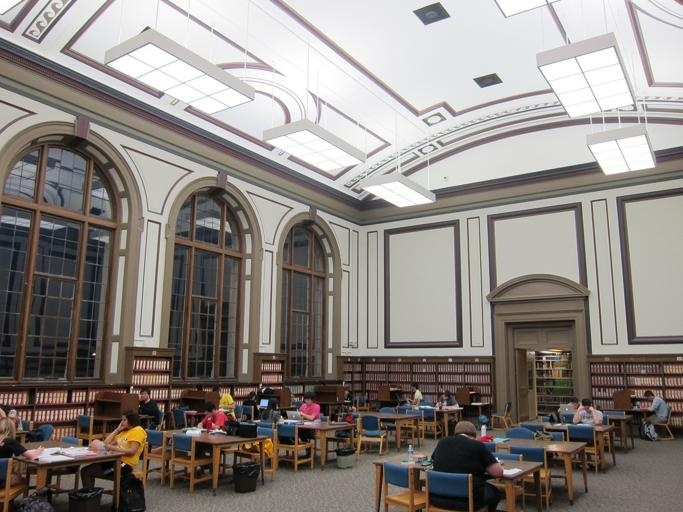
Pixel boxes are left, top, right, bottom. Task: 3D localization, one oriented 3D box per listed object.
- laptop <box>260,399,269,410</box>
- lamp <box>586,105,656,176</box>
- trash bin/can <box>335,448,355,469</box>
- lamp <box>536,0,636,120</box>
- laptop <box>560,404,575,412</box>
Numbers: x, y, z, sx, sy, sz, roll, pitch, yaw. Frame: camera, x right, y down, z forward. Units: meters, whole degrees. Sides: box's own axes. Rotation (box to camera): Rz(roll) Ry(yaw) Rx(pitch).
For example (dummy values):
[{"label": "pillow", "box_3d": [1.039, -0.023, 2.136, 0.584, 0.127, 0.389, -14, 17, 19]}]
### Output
[{"label": "laptop", "box_3d": [-2.080, 3.966, 12.697, 0.206, 0.047, 0.209, -4, 13, 11]}, {"label": "lamp", "box_3d": [7.171, -3.275, 12.198, 1.445, 0.442, 2.158, -18, -29, 40]}, {"label": "trash bin/can", "box_3d": [0.039, 4.070, 9.663, 0.349, 0.357, 0.512, -9, -16, 34]}, {"label": "lamp", "box_3d": [4.846, -3.559, 9.269, 1.777, 0.479, 2.670, -13, -30, 39]}, {"label": "laptop", "box_3d": [5.615, 3.762, 11.719, 0.302, 0.190, 0.224, -4, -17, 22]}]
